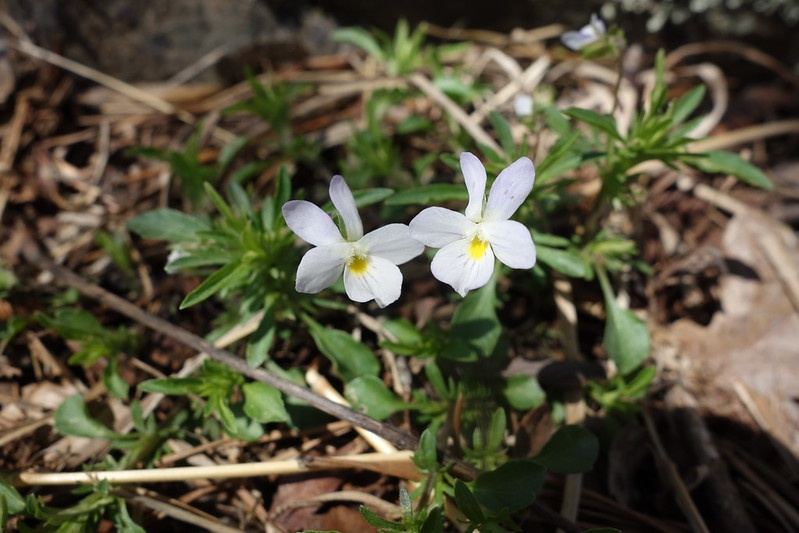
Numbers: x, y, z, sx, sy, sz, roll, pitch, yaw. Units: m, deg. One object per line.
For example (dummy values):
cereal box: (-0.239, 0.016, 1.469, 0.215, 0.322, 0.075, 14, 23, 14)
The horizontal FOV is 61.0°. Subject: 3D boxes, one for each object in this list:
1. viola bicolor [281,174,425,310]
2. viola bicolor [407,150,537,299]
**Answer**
viola bicolor: (-0.296, -0.073, 3.990, 0.718, 0.251, 0.821, -29, 47, -7)
viola bicolor: (0.484, -0.211, 3.767, 0.664, 0.606, 0.617, -38, 59, -26)
